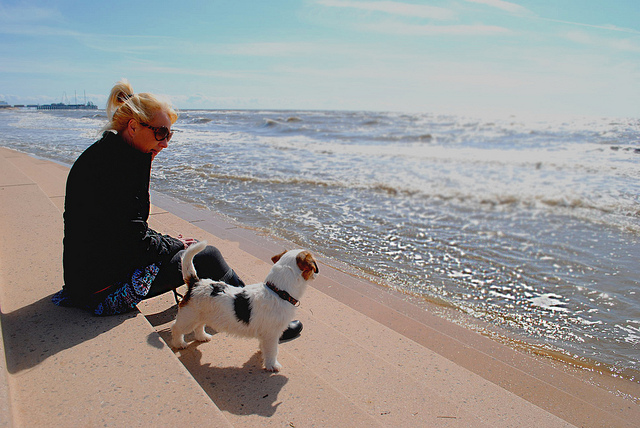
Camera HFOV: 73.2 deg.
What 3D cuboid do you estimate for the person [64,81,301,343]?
[{"bbox_3d":[-1.834,-0.124,4.104,1.012,2.179,0.692,5,19,-28],"label":"person"}]

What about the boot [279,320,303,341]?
[{"bbox_3d":[-0.286,1.205,4.495,0.140,0.161,0.270,18,16,19],"label":"boot"}]
